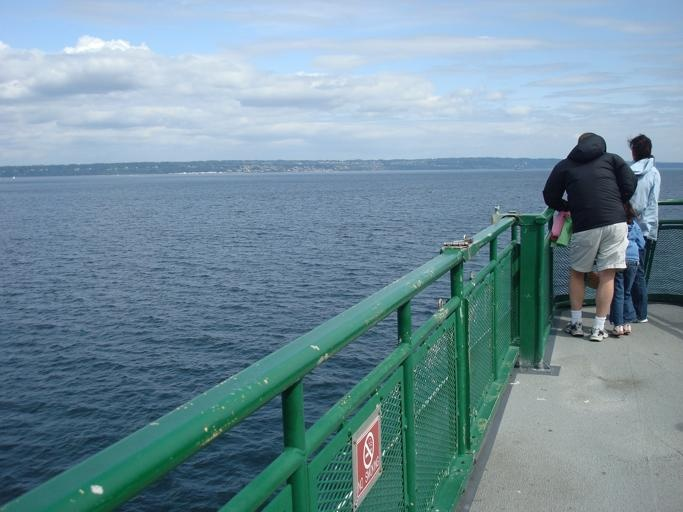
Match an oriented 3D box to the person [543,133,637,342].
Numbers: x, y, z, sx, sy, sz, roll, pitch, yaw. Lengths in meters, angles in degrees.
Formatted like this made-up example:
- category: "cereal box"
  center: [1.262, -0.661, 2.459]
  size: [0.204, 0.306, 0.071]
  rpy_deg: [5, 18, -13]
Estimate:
- category: "person"
  center: [2.620, -0.158, 6.391]
  size: [0.859, 2.228, 0.362]
  rpy_deg: [0, 14, 21]
